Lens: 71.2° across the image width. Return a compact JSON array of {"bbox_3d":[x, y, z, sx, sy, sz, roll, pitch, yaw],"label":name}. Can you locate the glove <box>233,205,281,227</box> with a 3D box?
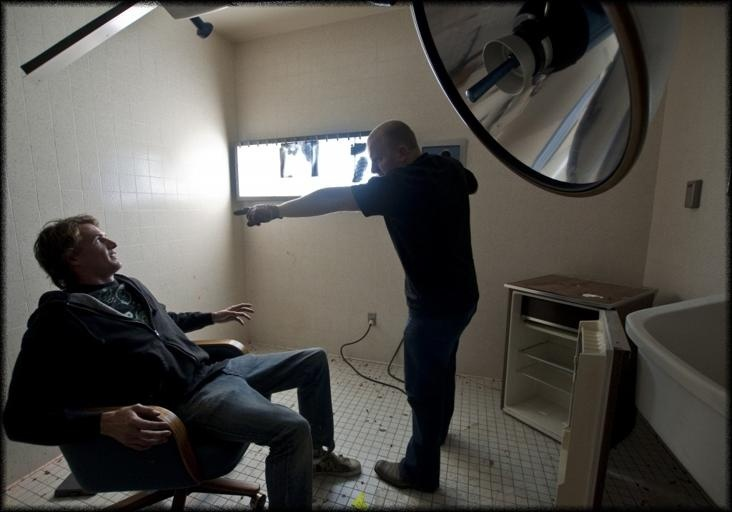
[{"bbox_3d":[-0.496,-0.177,2.318,0.194,0.120,0.074,-16,-25,6],"label":"glove"}]

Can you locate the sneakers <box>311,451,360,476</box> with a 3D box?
[{"bbox_3d":[-0.172,1.134,2.843,0.298,0.127,0.108,1,2,-1],"label":"sneakers"}]

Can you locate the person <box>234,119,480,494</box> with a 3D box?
[{"bbox_3d":[0.058,0.270,2.619,1.308,1.836,0.655,-4,5,-32],"label":"person"}]

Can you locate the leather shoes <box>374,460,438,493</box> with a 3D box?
[{"bbox_3d":[0.208,1.146,2.769,0.340,0.139,0.131,9,6,21],"label":"leather shoes"}]

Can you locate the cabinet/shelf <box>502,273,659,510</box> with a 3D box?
[{"bbox_3d":[1.005,0.608,2.811,0.724,0.990,1.132,7,9,43],"label":"cabinet/shelf"}]

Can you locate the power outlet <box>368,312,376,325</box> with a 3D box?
[{"bbox_3d":[0.039,0.475,3.899,0.081,0.079,0.020,4,3,28],"label":"power outlet"}]
